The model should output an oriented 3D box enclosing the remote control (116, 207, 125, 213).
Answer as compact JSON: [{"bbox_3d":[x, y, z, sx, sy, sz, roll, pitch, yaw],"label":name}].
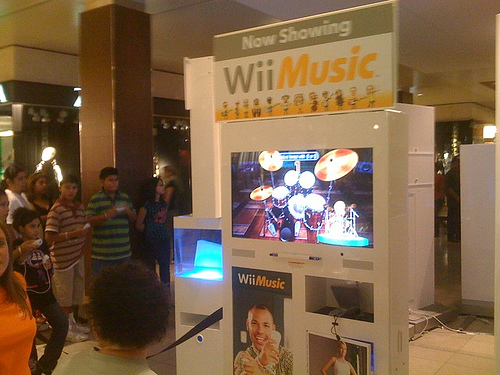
[{"bbox_3d":[-1.602,0.278,4.912,0.036,0.077,0.122,3,5,26],"label":"remote control"}]

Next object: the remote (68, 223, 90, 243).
[{"bbox_3d":[-2.043,0.548,4.803,0.253,0.244,0.134,3,5,24],"label":"remote"}]

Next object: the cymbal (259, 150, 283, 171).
[{"bbox_3d":[0.155,-0.200,2.965,0.193,0.155,0.039,5,6,41],"label":"cymbal"}]

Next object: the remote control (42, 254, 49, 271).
[{"bbox_3d":[-1.814,0.671,3.550,0.035,0.156,0.112,-1,5,-16],"label":"remote control"}]
